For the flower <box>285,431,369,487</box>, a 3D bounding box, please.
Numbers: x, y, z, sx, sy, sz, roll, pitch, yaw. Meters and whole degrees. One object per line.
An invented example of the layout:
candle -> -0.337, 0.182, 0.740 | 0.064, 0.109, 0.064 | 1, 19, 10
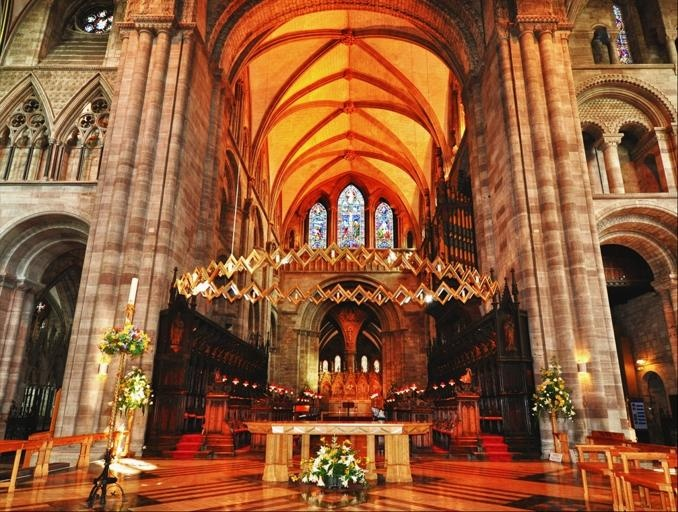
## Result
flower -> -0.196, 4.253, 10.558 | 1.311, 0.958, 0.827 | -6, -24, 12

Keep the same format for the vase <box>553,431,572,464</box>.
vase -> 5.962, 5.115, 13.679 | 0.234, 0.677, 0.403 | 4, -28, 2

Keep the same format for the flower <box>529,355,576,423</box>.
flower -> 6.005, 3.841, 14.286 | 0.658, 1.049, 0.695 | -13, -10, 13

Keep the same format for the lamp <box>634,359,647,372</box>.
lamp -> 13.005, 4.670, 22.043 | 0.408, 0.437, 0.758 | -6, -4, 15

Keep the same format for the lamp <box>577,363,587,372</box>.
lamp -> 6.930, 3.150, 14.607 | 0.207, 0.208, 0.214 | 6, -7, -3
